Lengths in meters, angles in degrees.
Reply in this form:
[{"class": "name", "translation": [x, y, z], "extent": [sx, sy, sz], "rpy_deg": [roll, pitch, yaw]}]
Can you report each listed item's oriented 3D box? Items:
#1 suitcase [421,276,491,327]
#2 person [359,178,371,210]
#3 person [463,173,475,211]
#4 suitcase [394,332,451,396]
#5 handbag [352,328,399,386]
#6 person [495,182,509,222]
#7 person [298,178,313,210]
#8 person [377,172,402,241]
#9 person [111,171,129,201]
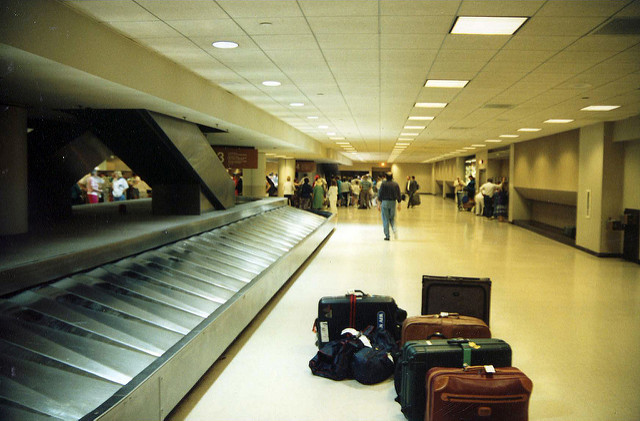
[{"class": "suitcase", "translation": [1.437, 0.915, 4.901], "extent": [0.827, 0.757, 0.500], "rpy_deg": [1, 1, 10]}, {"class": "person", "translation": [2.011, -0.742, 19.343], "extent": [0.548, 1.443, 1.402], "rpy_deg": [2, 5, 5]}, {"class": "person", "translation": [6.814, -0.772, 20.009], "extent": [0.503, 1.530, 1.983], "rpy_deg": [3, 5, 19]}, {"class": "suitcase", "translation": [0.932, 1.407, 3.956], "extent": [0.534, 0.743, 0.411], "rpy_deg": [3, -8, -7]}, {"class": "handbag", "translation": [0.598, 1.502, 4.478], "extent": [0.372, 0.416, 0.514], "rpy_deg": [4, 6, 29]}, {"class": "person", "translation": [6.644, -0.381, 16.034], "extent": [0.464, 1.335, 0.330], "rpy_deg": [1, 5, -8]}, {"class": "person", "translation": [-0.559, -0.638, 16.997], "extent": [0.525, 1.234, 1.265], "rpy_deg": [1, 5, -2]}, {"class": "person", "translation": [1.732, -0.116, 11.121], "extent": [0.565, 1.630, 1.283], "rpy_deg": [2, 5, 9]}, {"class": "person", "translation": [-4.670, -0.551, 10.232], "extent": [0.320, 0.685, 1.109], "rpy_deg": [-1, 6, -26]}]
